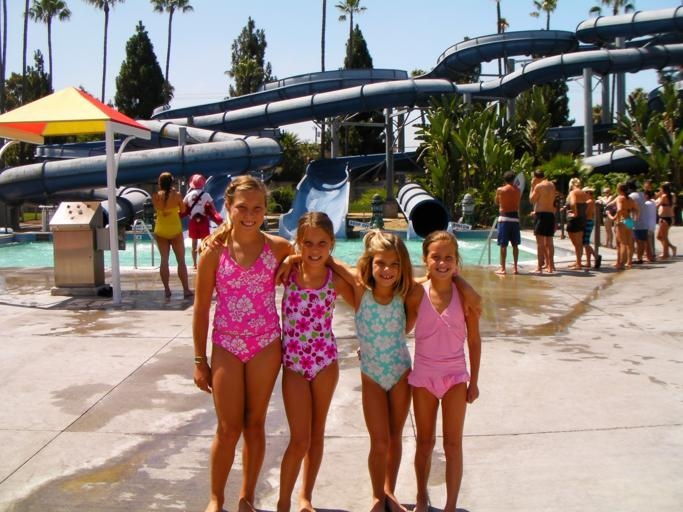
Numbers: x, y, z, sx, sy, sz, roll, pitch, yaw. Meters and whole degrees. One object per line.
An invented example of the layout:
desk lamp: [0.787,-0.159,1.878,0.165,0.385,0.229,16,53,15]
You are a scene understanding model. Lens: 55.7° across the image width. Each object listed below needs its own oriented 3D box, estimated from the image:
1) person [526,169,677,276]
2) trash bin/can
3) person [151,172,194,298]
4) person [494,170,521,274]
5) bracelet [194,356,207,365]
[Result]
person: [4.638,-0.571,11.397,1.058,1.542,1.793,1,3,41]
trash bin/can: [-3.589,-0.093,8.772,0.668,1.274,0.435,-3,3,-22]
person: [-2.362,-0.310,9.045,0.477,1.769,1.023,-2,3,-16]
person: [2.798,-0.559,10.767,0.392,1.695,1.030,-1,3,15]
bracelet: [-0.842,0.622,3.833,0.050,0.027,0.040,0,1,-2]
